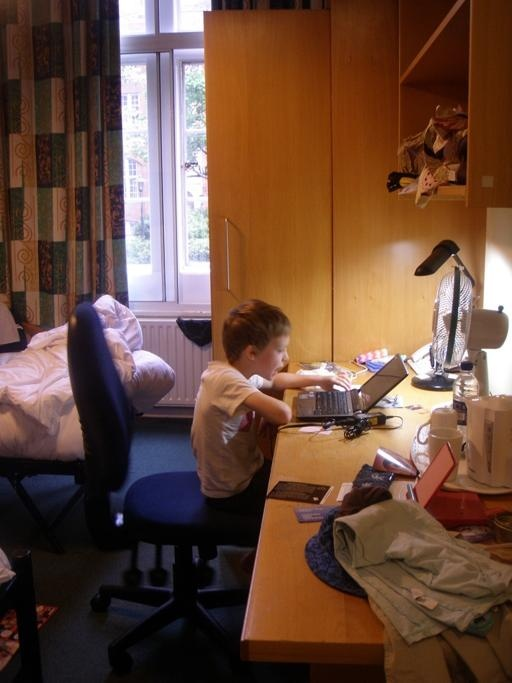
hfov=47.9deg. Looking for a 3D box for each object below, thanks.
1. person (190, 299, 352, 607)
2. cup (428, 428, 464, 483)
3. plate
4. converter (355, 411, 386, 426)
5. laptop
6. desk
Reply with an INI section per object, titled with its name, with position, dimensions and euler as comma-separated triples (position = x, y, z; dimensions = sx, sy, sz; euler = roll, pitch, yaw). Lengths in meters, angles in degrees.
[person]
position = -0.089, 0.195, 1.709
dimensions = 0.549, 0.959, 0.532
euler = -5, 10, -15
[cup]
position = 0.367, 0.214, 1.126
dimensions = 0.084, 0.107, 0.097
euler = -1, 5, 6
[plate]
position = 0.396, 0.233, 1.155
dimensions = 0.138, 0.135, 0.090
euler = -3, 10, 11
[converter]
position = 0.303, 0.198, 1.501
dimensions = 0.062, 0.024, 0.035
euler = -2, 21, -4
[laptop]
position = 0.252, 0.123, 1.623
dimensions = 0.260, 0.119, 0.187
euler = -2, 22, 5
[desk]
position = 0.205, 0.285, 1.018
dimensions = 0.312, 0.194, 0.800
euler = 2, 26, 6
